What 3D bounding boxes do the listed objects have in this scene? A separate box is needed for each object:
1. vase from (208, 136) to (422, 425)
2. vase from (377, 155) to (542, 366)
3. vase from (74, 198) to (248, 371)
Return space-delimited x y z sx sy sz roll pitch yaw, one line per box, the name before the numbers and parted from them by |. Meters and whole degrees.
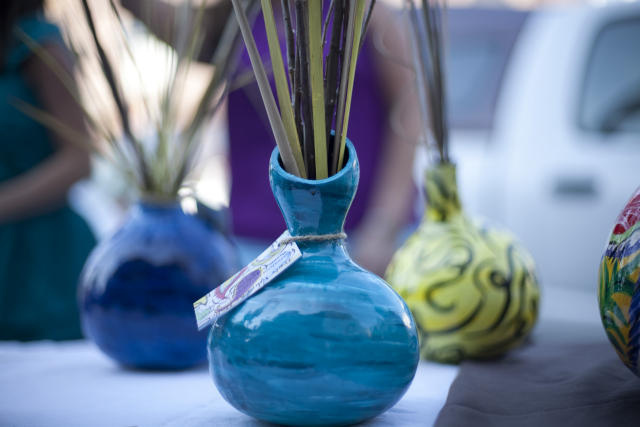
vase | -0.004 0.127 1.412 0.401 0.377 0.545 0 82 -1
vase | 0.270 0.093 1.651 0.301 0.308 0.437 -14 105 -22
vase | -0.315 0.132 1.630 0.349 0.359 0.361 -4 88 12
